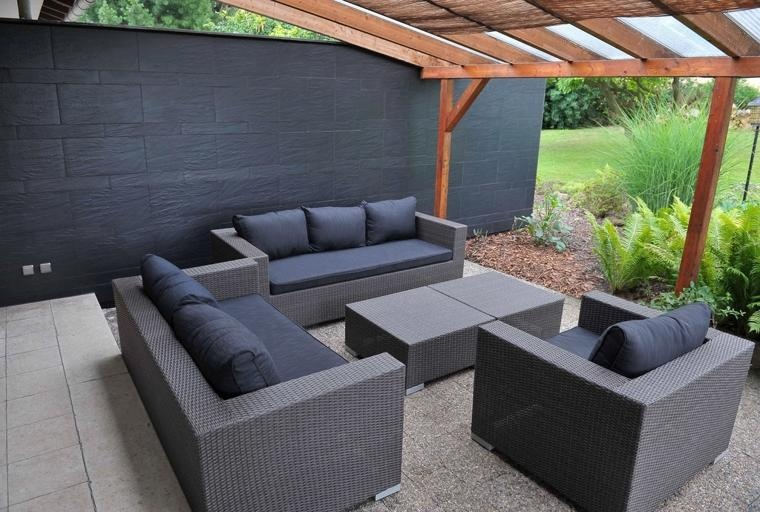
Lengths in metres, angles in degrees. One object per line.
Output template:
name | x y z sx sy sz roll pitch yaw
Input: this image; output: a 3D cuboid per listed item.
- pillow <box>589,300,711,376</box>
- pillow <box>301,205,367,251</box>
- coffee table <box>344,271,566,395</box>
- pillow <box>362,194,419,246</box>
pillow | 1.872 0.563 3.266 0.877 0.333 0.296 -10 23 -26
pillow | -0.565 -0.308 5.888 0.657 0.341 0.205 -10 -18 -34
coffee table | 0.509 0.552 4.687 2.243 0.443 1.024 -12 26 -29
pillow | 0.139 -0.425 6.275 0.917 0.491 0.280 -10 -11 -27
